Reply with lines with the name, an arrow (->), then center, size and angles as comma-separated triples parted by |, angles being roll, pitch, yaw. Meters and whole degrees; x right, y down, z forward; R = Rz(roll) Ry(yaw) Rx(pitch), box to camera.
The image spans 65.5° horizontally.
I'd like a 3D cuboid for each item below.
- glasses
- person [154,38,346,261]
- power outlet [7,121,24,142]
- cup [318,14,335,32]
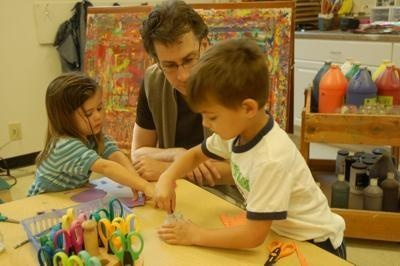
glasses -> -0.101, -0.354, 1.485 | 0.129, 0.074, 0.171 | -4, 4, 3
person -> 0.182, 0.073, 1.203 | 0.745, 0.841, 0.402 | -2, 8, -1
power outlet -> -1.994, -0.027, 3.357 | 0.195, 0.270, 0.027 | -7, 9, -43
cup -> 1.580, -1.391, 3.938 | 0.192, 0.222, 0.204 | -3, 10, 0
